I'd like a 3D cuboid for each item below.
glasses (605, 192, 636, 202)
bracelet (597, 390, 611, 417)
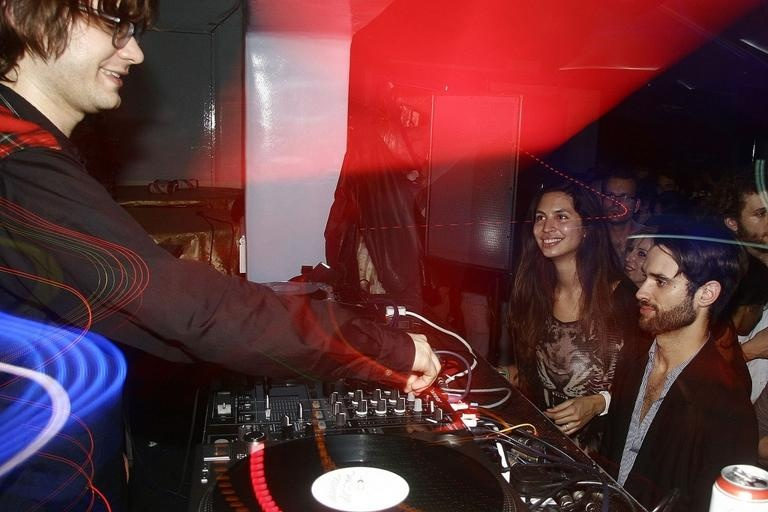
[{"bbox_3d":[0.946,-0.243,2.266,0.067,0.021,0.072,0,-3,33],"label":"glasses"},{"bbox_3d":[0.818,0.553,2.094,0.029,0.076,0.056,8,-10,-40],"label":"bracelet"}]
